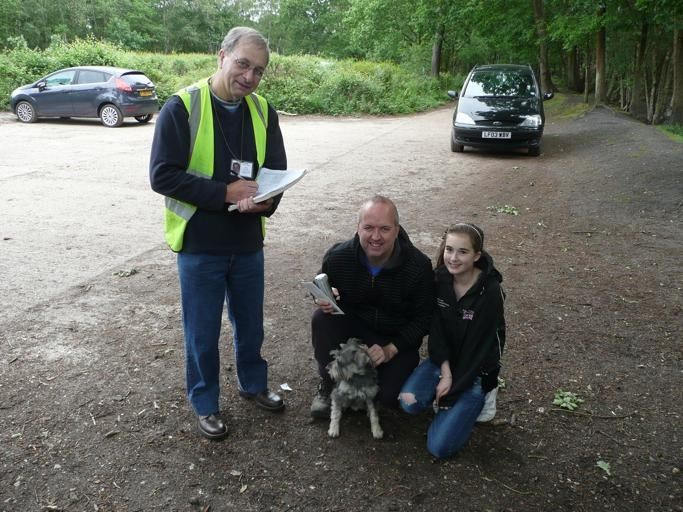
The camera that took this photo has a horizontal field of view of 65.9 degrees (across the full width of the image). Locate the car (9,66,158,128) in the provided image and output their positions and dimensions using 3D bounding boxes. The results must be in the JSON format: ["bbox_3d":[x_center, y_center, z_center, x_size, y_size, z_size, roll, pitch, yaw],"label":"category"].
[{"bbox_3d":[-8.866,-5.553,18.073,4.217,1.930,1.172,2,21,6],"label":"car"}]

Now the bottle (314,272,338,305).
[{"bbox_3d":[-0.130,0.232,3.947,0.154,0.200,0.162,0,21,0],"label":"bottle"}]

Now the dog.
[{"bbox_3d":[0.108,1.025,4.060,0.425,0.703,0.353,-1,21,-2],"label":"dog"}]

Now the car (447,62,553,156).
[{"bbox_3d":[4.083,-3.863,13.674,1.945,1.491,3.074,3,24,14],"label":"car"}]

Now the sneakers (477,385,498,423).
[{"bbox_3d":[1.169,1.190,4.185,0.117,0.252,0.260,17,-19,14],"label":"sneakers"}]

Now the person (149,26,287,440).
[{"bbox_3d":[-0.827,-0.149,3.912,0.966,2.921,0.692,-16,27,-36],"label":"person"}]

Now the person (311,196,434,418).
[{"bbox_3d":[0.232,0.439,4.335,1.113,1.681,1.029,15,24,30],"label":"person"}]

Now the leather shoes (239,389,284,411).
[{"bbox_3d":[-0.636,1.174,4.319,0.369,0.124,0.143,10,24,20],"label":"leather shoes"}]

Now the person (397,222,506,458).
[{"bbox_3d":[0.868,0.608,4.010,0.711,1.582,0.937,7,22,18],"label":"person"}]
